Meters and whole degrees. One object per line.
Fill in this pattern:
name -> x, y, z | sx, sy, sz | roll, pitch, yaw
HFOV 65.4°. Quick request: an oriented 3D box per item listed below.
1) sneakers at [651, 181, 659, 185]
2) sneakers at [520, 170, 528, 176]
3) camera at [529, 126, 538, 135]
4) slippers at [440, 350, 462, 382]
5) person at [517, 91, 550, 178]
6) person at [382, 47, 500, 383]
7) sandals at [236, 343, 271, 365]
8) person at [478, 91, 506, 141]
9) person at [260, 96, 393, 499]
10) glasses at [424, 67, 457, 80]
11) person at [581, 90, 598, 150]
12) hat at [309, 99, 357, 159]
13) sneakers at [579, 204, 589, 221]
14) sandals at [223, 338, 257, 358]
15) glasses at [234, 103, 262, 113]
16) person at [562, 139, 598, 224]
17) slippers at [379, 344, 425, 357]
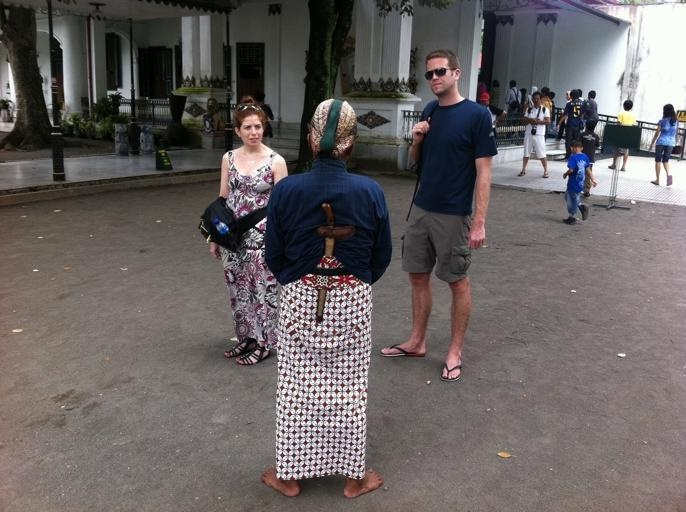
sneakers -> 8.655, -2.018, 14.733 | 0.062, 0.128, 0.187 | -5, 21, -12
sneakers -> 5.268, -2.433, 15.669 | 0.132, 0.106, 0.380 | 2, 12, 22
camera -> 5.421, -3.545, 15.142 | 0.180, 0.328, 0.173 | 1, 2, 23
slippers -> 0.859, 0.872, 4.224 | 0.105, 0.084, 0.296 | -1, 10, 10
person -> 5.600, -3.479, 15.406 | 0.779, 2.288, 1.307 | 6, 17, 18
person -> 0.784, -0.307, 4.181 | 0.721, 2.448, 0.482 | 12, 20, 34
sandals -> -0.751, 0.789, 4.398 | 0.127, 0.098, 0.245 | 12, 14, 42
person -> 5.012, -4.700, 18.352 | 0.972, 0.753, 2.215 | -1, 58, 14
person -> -0.069, 0.201, 2.771 | 0.655, 1.925, 0.419 | -2, 16, -9
glasses -> 0.666, -1.335, 3.916 | 0.211, 0.087, 0.116 | 15, 22, 39
person -> 8.745, -4.980, 18.719 | 0.520, 1.749, 0.504 | -4, 40, 19
hat -> -0.032, -0.623, 2.750 | 0.214, 0.312, 0.248 | 6, -13, 3
sneakers -> 4.531, -0.816, 10.032 | 0.113, 0.320, 0.129 | -18, 23, -17
sandals -> -0.875, 0.761, 4.497 | 0.260, 0.098, 0.133 | -11, 11, -36
glasses -> -0.751, -1.157, 4.189 | 0.198, 0.055, 0.171 | -6, 18, -23
person -> 4.328, -1.336, 9.723 | 0.542, 1.460, 0.430 | 0, 13, 7
slippers -> 0.497, 0.813, 4.550 | 0.252, 0.068, 0.149 | 3, -1, 0
